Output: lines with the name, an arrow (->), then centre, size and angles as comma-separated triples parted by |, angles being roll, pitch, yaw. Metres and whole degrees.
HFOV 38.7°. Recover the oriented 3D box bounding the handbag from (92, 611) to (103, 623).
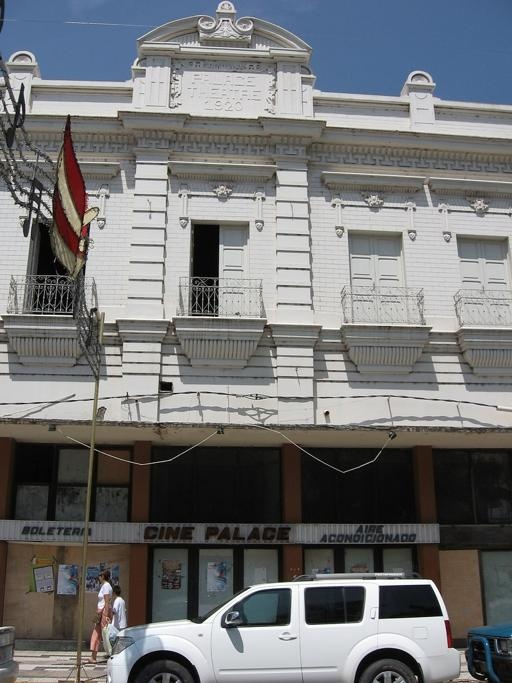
handbag -> -2.804, 4.855, 12.802 | 0.131, 0.178, 0.285 | 6, -26, -13
